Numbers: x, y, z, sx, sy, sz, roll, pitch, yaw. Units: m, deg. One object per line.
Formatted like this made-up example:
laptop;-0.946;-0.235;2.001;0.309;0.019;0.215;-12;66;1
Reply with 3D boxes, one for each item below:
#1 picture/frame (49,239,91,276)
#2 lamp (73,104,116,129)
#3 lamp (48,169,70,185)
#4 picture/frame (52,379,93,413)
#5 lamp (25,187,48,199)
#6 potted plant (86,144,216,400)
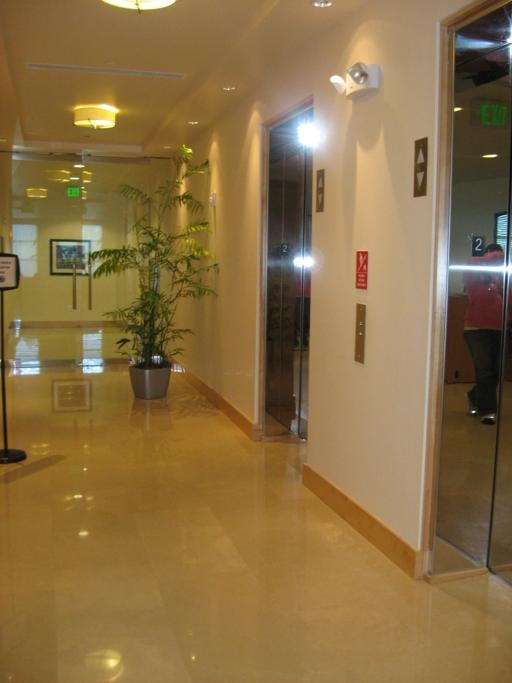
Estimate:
picture/frame;-2.897;-1.310;7.880;0.495;0.564;0.021;0;4;-16
lamp;-1.798;-2.512;5.727;0.482;0.146;0.685;-2;7;-19
lamp;-2.992;-2.496;7.777;0.218;0.174;0.234;-1;7;5
picture/frame;-2.261;0.679;6.267;0.486;0.043;0.470;0;19;-4
lamp;-3.330;-2.235;7.748;0.304;0.167;0.043;-2;6;-20
potted plant;-1.539;-1.004;6.929;1.326;3.195;3.189;-1;7;-18
